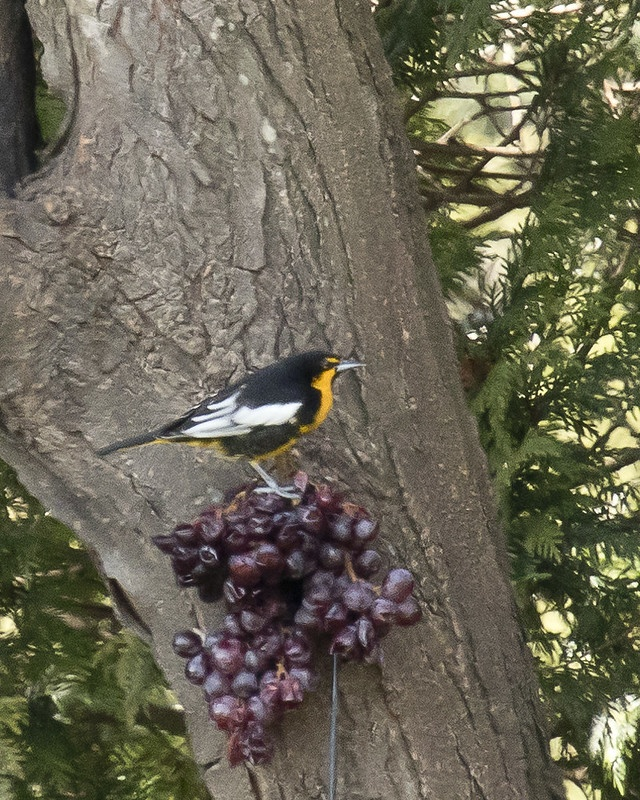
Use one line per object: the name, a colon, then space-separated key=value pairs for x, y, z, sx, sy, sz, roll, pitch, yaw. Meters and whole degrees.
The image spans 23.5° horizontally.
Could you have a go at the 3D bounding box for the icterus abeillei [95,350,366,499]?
icterus abeillei: x=-0.167 y=0.025 z=3.203 sx=0.475 sy=0.328 sz=0.180 roll=4 pitch=19 yaw=-6
